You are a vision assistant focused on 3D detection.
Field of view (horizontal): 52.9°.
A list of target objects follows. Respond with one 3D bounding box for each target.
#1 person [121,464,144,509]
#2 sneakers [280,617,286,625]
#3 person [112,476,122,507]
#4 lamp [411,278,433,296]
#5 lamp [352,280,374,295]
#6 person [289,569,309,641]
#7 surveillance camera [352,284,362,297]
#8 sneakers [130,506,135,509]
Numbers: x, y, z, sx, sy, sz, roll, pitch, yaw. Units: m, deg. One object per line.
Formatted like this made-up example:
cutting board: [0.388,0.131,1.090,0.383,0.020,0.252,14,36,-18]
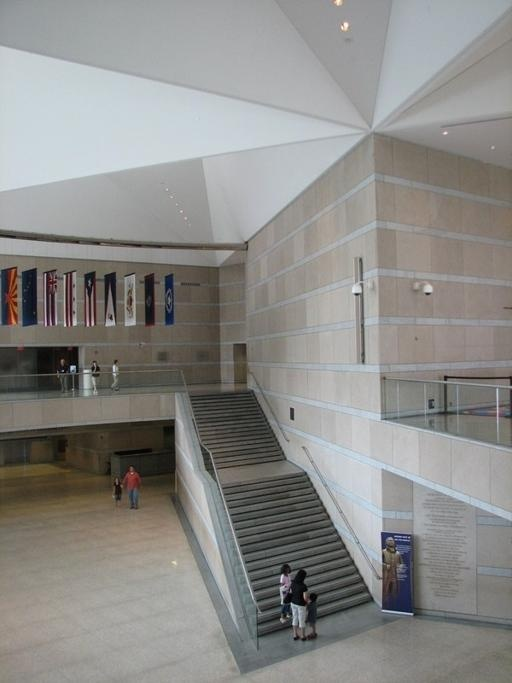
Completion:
person: [-4.303,5.018,17.827,0.615,1.425,0.407,-8,-10,9]
sneakers: [0.547,5.610,10.344,0.066,0.085,0.193,1,-11,-13]
person: [-5.015,5.407,18.585,0.216,0.731,0.346,-2,1,-8]
lamp: [3.765,-1.242,11.420,0.409,0.280,0.424,2,-15,-23]
lamp: [2.336,-1.199,11.368,0.426,0.404,0.279,4,3,-8]
person: [0.813,4.950,9.763,0.326,1.540,0.762,-1,1,3]
surveillance camera: [2.223,-1.129,11.232,0.212,0.307,0.218,-4,-9,39]
sneakers: [-4.332,5.815,18.036,0.167,0.168,0.072,2,-6,-5]
